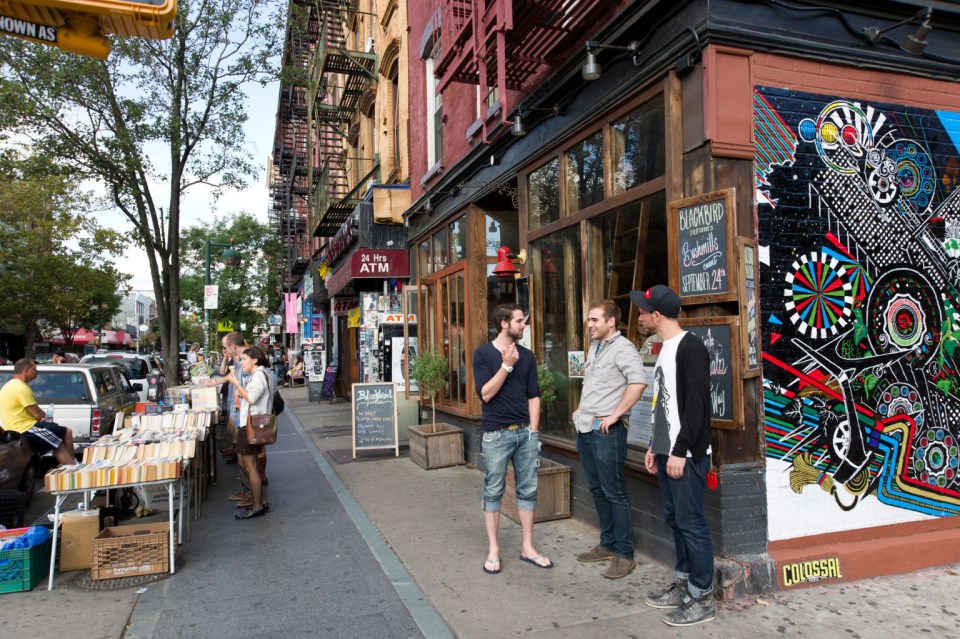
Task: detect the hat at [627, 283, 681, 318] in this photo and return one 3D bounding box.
[{"bbox_3d":[1.845,-0.188,8.376,0.443,0.220,0.312,21,32,18],"label":"hat"}]

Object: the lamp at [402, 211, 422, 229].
[{"bbox_3d":[-1.406,-2.142,16.872,0.120,0.384,0.527,-3,-4,-28],"label":"lamp"}]

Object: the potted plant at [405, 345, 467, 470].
[{"bbox_3d":[-0.801,1.585,14.102,0.963,1.729,1.924,-3,12,-6],"label":"potted plant"}]

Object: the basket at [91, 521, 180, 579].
[{"bbox_3d":[-4.120,2.729,9.473,0.665,0.480,0.712,-1,0,-14],"label":"basket"}]

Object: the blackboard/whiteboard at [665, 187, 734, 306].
[{"bbox_3d":[2.409,-0.782,8.594,0.084,1.808,1.167,-2,3,-33],"label":"blackboard/whiteboard"}]

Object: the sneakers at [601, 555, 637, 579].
[{"bbox_3d":[1.555,2.792,8.933,0.361,0.189,0.174,2,-5,-35],"label":"sneakers"}]

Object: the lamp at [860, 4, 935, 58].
[{"bbox_3d":[4.786,-3.270,8.926,0.954,0.544,0.339,-8,12,-23],"label":"lamp"}]

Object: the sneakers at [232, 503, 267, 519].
[{"bbox_3d":[-3.200,2.702,11.138,0.390,0.146,0.218,5,-6,-17],"label":"sneakers"}]

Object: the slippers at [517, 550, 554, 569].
[{"bbox_3d":[0.650,2.758,9.202,0.333,0.216,0.157,1,1,42],"label":"slippers"}]

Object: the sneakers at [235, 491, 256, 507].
[{"bbox_3d":[-3.460,2.660,11.692,0.232,0.170,0.444,1,10,-12],"label":"sneakers"}]

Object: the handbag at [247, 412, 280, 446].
[{"bbox_3d":[-3.009,1.510,11.056,0.578,0.692,0.354,1,-8,-17],"label":"handbag"}]

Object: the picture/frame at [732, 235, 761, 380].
[{"bbox_3d":[2.873,-0.139,8.445,0.267,1.490,0.536,7,14,40],"label":"picture/frame"}]

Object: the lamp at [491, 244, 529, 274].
[{"bbox_3d":[0.491,-0.932,12.218,0.455,0.399,0.398,2,1,12],"label":"lamp"}]

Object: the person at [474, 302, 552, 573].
[{"bbox_3d":[0.349,1.352,9.172,0.772,2.973,0.818,-2,11,-1],"label":"person"}]

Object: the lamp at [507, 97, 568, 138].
[{"bbox_3d":[0.800,-2.828,11.148,0.869,0.508,0.296,7,5,27],"label":"lamp"}]

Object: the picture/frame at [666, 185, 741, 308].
[{"bbox_3d":[2.450,-0.778,8.570,0.081,1.875,1.226,-2,3,-35],"label":"picture/frame"}]

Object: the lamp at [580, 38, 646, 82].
[{"bbox_3d":[1.537,-3.197,9.679,0.431,0.427,0.943,-7,13,-20],"label":"lamp"}]

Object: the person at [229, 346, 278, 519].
[{"bbox_3d":[-3.192,1.558,11.199,0.659,2.316,0.741,-5,11,-16],"label":"person"}]

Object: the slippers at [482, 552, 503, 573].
[{"bbox_3d":[0.138,2.792,9.166,0.221,0.163,0.318,-3,12,0],"label":"slippers"}]

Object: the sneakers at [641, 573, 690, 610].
[{"bbox_3d":[1.984,2.903,8.415,0.524,0.261,0.202,2,0,-7],"label":"sneakers"}]

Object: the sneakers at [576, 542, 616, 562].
[{"bbox_3d":[1.356,2.723,9.273,0.401,0.195,0.187,2,-5,-6],"label":"sneakers"}]
